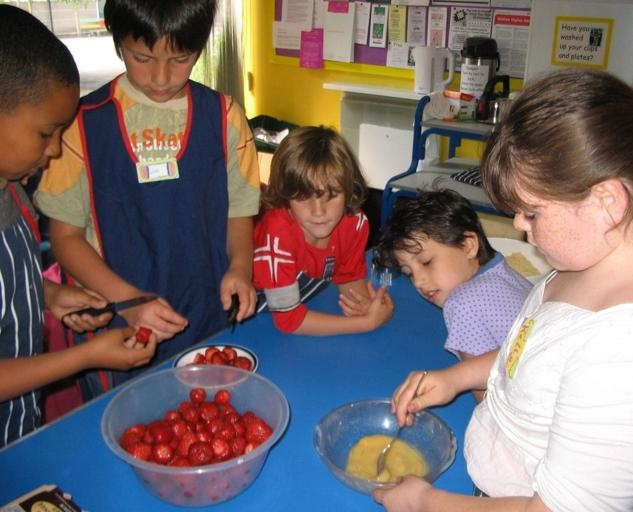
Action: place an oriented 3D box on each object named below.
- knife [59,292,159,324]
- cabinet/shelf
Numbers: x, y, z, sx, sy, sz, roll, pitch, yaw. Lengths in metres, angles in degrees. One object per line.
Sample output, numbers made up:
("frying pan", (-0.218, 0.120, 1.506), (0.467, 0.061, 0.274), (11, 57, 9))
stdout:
("knife", (-0.510, 0.126, 1.264), (0.193, 0.025, 0.029), (-13, 41, 0))
("cabinet/shelf", (0.822, -0.367, 3.198), (0.700, 1.156, 0.993), (11, 27, 27))
